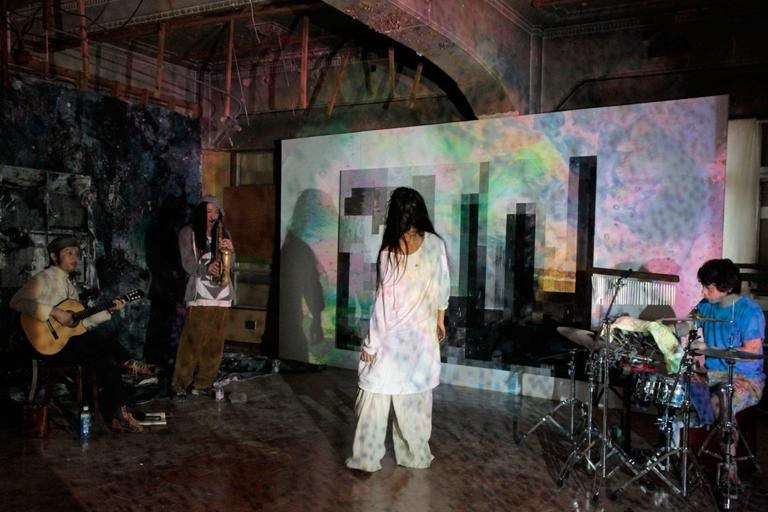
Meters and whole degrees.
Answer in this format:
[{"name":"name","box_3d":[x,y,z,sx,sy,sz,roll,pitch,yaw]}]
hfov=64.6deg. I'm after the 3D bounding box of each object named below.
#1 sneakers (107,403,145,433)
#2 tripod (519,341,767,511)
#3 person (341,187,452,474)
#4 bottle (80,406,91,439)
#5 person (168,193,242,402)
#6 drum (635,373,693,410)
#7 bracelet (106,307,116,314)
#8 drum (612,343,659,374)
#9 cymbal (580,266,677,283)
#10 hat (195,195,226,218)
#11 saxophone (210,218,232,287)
[{"name":"sneakers","box_3d":[-2.770,1.742,6.587,0.364,0.277,0.167,3,13,9]},{"name":"tripod","box_3d":[2.635,1.600,6.267,1.698,1.463,1.491,1,-12,7]},{"name":"person","box_3d":[0.135,0.730,5.816,0.970,2.690,0.515,-1,13,-9]},{"name":"bottle","box_3d":[-3.146,1.732,6.393,0.110,0.351,0.217,-6,14,-27]},{"name":"person","box_3d":[-2.235,0.532,7.471,0.788,2.408,0.501,-4,14,-22]},{"name":"drum","box_3d":[2.606,1.243,5.653,0.367,0.280,0.374,9,-4,1]},{"name":"bracelet","box_3d":[-3.090,0.617,6.871,0.106,0.104,0.035,1,29,-48]},{"name":"drum","box_3d":[2.412,0.996,5.841,0.393,0.206,0.246,4,43,42]},{"name":"cymbal","box_3d":[2.634,0.203,6.463,0.094,0.163,1.098,2,4,-19]},{"name":"hat","box_3d":[-2.180,-0.608,7.540,0.308,0.270,0.240,10,0,25]},{"name":"saxophone","box_3d":[-1.994,-0.040,7.463,0.198,0.772,0.384,-5,14,-24]}]
